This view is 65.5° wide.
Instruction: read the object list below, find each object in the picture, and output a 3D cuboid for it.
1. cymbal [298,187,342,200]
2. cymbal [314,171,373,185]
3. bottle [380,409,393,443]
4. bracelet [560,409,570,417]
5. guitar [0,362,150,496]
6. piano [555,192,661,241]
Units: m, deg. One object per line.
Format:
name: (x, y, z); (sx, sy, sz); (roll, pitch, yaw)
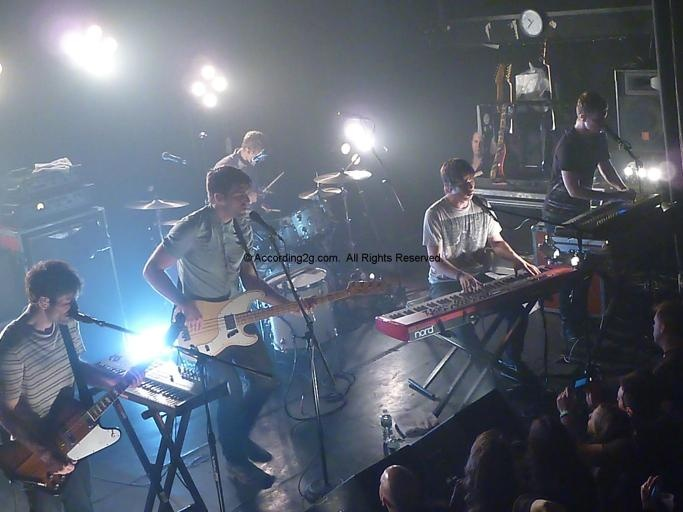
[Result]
cymbal: (-0.323, -0.983, 8.379); (0.352, 0.089, 0.358); (-20, 33, -22)
cymbal: (-0.008, -1.283, 8.803); (0.861, 0.257, 1.007); (-8, 11, -4)
bottle: (0.419, 1.550, 4.861); (0.082, 0.287, 0.096); (-4, -11, -9)
bracelet: (1.669, 1.191, 3.994); (0.054, 0.014, 0.055); (-5, 0, -30)
guitar: (-2.071, 1.332, 4.084); (0.165, 0.544, 1.267); (-29, 16, 52)
piano: (2.668, -0.352, 5.427); (1.693, 0.293, 0.806); (-17, 15, -39)
